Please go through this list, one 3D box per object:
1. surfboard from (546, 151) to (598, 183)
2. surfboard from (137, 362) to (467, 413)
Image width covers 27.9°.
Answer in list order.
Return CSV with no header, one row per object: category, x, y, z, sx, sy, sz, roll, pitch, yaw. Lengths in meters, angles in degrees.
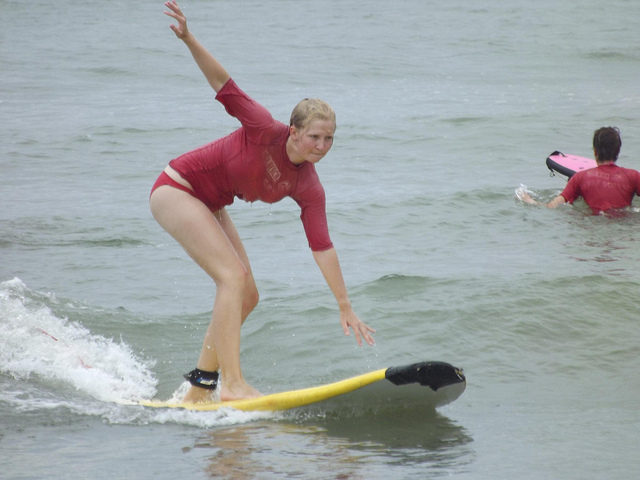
surfboard,4.469,-1.343,23.102,0.835,0.237,0.485,23,37,33
surfboard,-0.356,2.074,17.620,4.551,0.300,1.075,-5,-9,9
